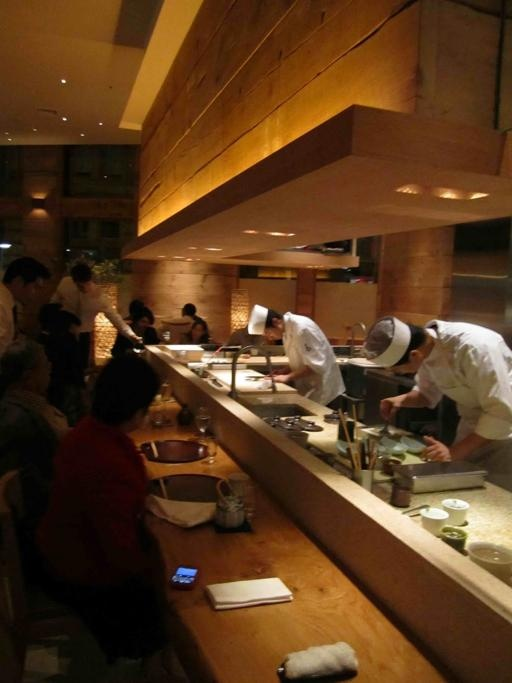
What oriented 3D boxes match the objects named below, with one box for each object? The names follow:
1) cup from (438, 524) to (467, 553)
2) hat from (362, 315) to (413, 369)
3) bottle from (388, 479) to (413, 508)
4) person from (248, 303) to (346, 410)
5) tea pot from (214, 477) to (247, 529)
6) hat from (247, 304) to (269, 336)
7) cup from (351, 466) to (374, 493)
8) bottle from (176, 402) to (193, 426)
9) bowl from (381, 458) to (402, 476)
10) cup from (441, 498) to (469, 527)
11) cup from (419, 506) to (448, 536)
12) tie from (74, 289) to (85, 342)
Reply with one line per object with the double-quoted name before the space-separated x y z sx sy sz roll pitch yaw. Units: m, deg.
"cup" 0.471 0.469 1.270 0.051 0.041 0.060 -2 3 -7
"hat" 0.560 0.008 2.327 0.128 0.205 0.212 18 -9 -27
"bottle" 0.417 0.439 1.525 0.062 0.062 0.067 0 2 0
"person" 0.331 0.172 4.156 0.610 0.948 0.649 -3 5 37
"tea pot" -0.081 0.462 1.519 0.092 0.128 0.094 1 3 0
"hat" 0.020 -0.167 4.140 0.152 0.216 0.311 -3 5 1
"cup" 0.308 0.390 1.509 0.064 0.064 0.063 -2 6 0
"bottle" -0.362 0.378 2.755 0.098 0.106 0.095 -3 9 -18
"bowl" 0.453 0.419 1.779 0.054 0.031 0.052 0 8 0
"cup" 0.537 0.460 1.435 0.064 0.042 0.062 -2 3 0
"cup" 0.462 0.457 1.356 0.057 0.039 0.055 -2 2 0
"tie" -1.587 -0.253 4.749 0.069 0.476 0.070 7 17 28
